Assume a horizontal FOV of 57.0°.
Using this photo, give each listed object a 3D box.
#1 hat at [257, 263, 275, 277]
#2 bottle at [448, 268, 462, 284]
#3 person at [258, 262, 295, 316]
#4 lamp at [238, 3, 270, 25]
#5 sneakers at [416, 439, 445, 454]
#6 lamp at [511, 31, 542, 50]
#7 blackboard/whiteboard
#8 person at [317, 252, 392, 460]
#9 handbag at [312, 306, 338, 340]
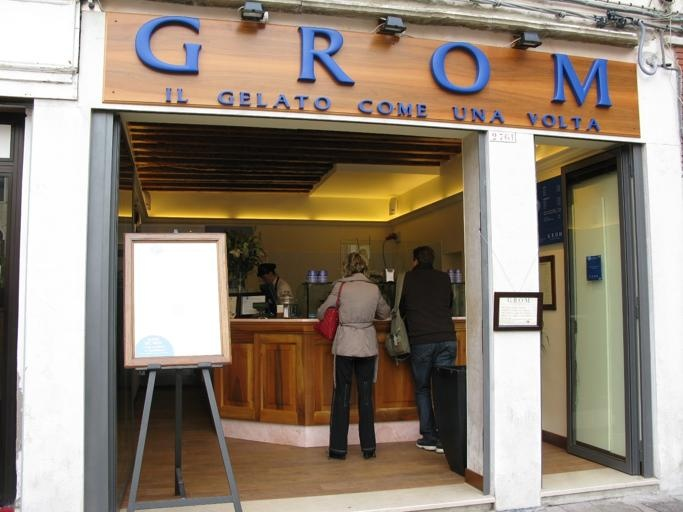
[{"bbox_3d":[-0.990,0.182,8.305,0.217,0.175,0.167,-11,12,-23],"label":"hat"},{"bbox_3d":[1.379,0.250,7.640,0.167,0.168,0.173,0,0,18],"label":"bottle"},{"bbox_3d":[-0.853,0.407,8.010,0.415,0.606,1.095,-1,1,-8],"label":"person"},{"bbox_3d":[-0.698,-1.933,5.032,0.257,0.106,0.207,-1,1,-18],"label":"lamp"},{"bbox_3d":[0.912,1.964,6.515,0.103,0.126,0.283,7,-2,-32],"label":"sneakers"},{"bbox_3d":[1.635,-1.867,5.434,0.309,0.144,0.161,-1,1,-19],"label":"lamp"},{"bbox_3d":[-1.285,0.359,4.810,0.970,1.344,0.144,-1,-12,-11],"label":"blackboard/whiteboard"},{"bbox_3d":[0.107,1.093,6.347,0.706,1.818,0.360,-1,0,-3],"label":"person"},{"bbox_3d":[-0.128,0.682,6.500,0.213,0.386,0.274,19,-15,2],"label":"handbag"}]
